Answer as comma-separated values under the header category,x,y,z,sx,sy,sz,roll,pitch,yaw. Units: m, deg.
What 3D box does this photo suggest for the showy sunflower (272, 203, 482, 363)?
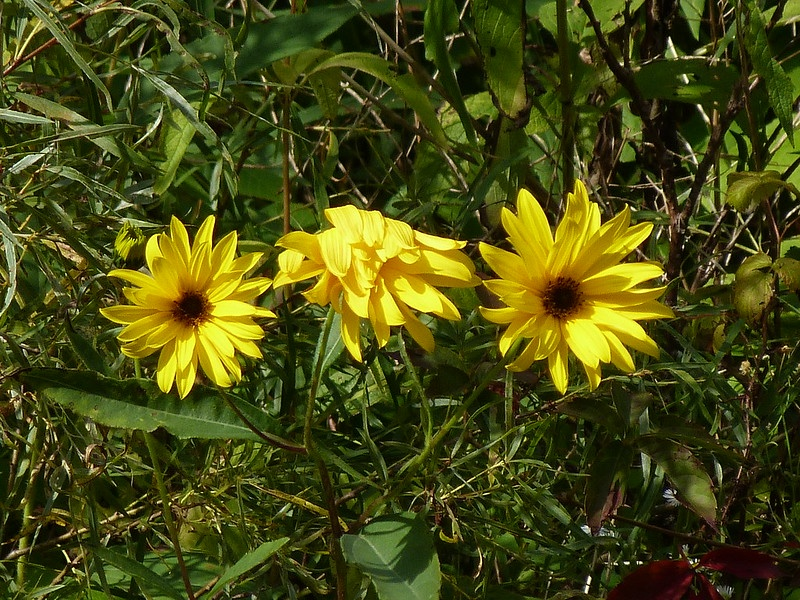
category,x,y,z,sx,sy,sz,roll,pitch,yaw
showy sunflower,-0.039,-0.051,0.849,0.170,0.063,0.188,-32,94,10

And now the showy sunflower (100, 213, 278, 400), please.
category,x,y,z,sx,sy,sz,roll,pitch,yaw
showy sunflower,-0.234,0.004,0.916,0.182,0.072,0.186,36,83,18

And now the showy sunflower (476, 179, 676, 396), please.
category,x,y,z,sx,sy,sz,roll,pitch,yaw
showy sunflower,0.176,-0.015,0.919,0.225,0.254,0.102,0,56,-15
